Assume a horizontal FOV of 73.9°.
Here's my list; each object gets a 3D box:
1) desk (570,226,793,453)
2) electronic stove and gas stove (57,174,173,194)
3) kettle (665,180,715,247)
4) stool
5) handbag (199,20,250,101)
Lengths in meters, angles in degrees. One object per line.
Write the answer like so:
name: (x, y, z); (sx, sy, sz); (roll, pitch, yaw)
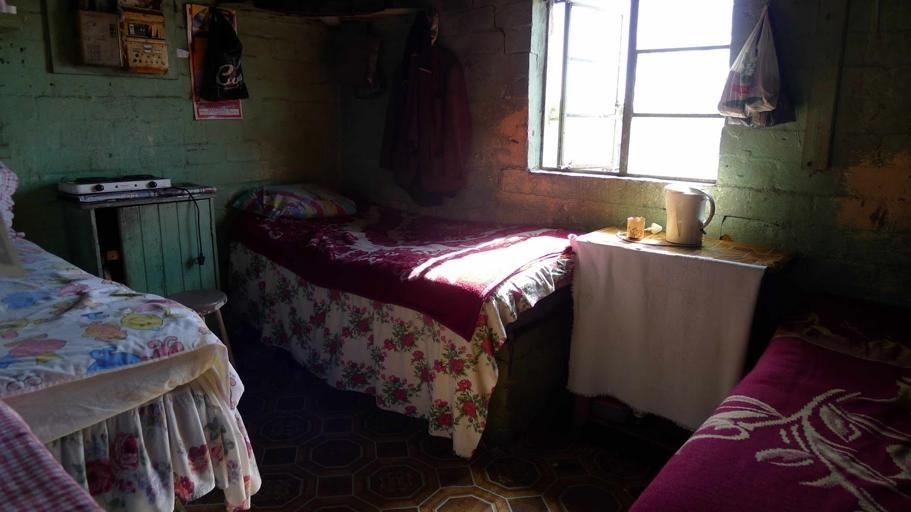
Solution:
desk: (1.329, 0.174, 4.220); (1.691, 1.547, 1.248); (14, 17, 42)
electronic stove and gas stove: (-2.370, -0.497, 4.252); (0.679, 0.085, 0.228); (-8, 19, -28)
kettle: (1.485, -0.251, 3.840); (0.261, 0.424, 0.282); (1, 1, 18)
stool: (-1.668, 0.450, 4.302); (0.569, 0.643, 0.533); (-2, 11, -12)
handbag: (-1.841, -1.558, 4.756); (0.345, 0.641, 0.195); (-8, 21, -27)
